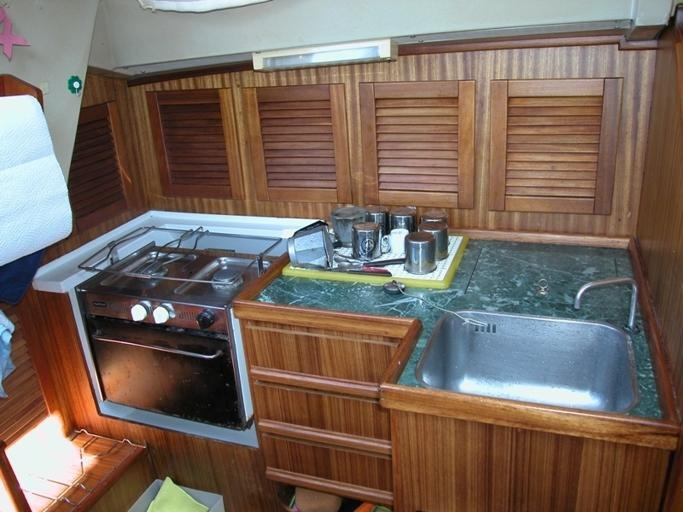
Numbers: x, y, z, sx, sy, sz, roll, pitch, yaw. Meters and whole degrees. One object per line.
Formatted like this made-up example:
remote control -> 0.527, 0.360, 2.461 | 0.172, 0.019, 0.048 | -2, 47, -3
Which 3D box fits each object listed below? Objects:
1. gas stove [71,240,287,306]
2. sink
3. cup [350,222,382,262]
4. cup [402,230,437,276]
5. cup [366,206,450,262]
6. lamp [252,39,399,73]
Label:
gas stove -> -0.660, 0.056, 2.007 | 0.717, 0.125, 0.475 | 5, 27, 12
sink -> 0.610, 0.351, 1.511 | 0.514, 0.165, 0.355 | 3, 24, 19
cup -> 0.103, -0.056, 1.931 | 0.127, 0.126, 0.169 | 11, 16, 43
cup -> 0.305, -0.013, 1.874 | 0.174, 0.136, 0.156 | -7, 13, -17
cup -> 0.291, -0.107, 2.037 | 0.332, 0.195, 0.168 | 3, 15, 12
lamp -> -0.077, -0.825, 1.947 | 0.607, 0.090, 0.088 | 3, 56, 16
